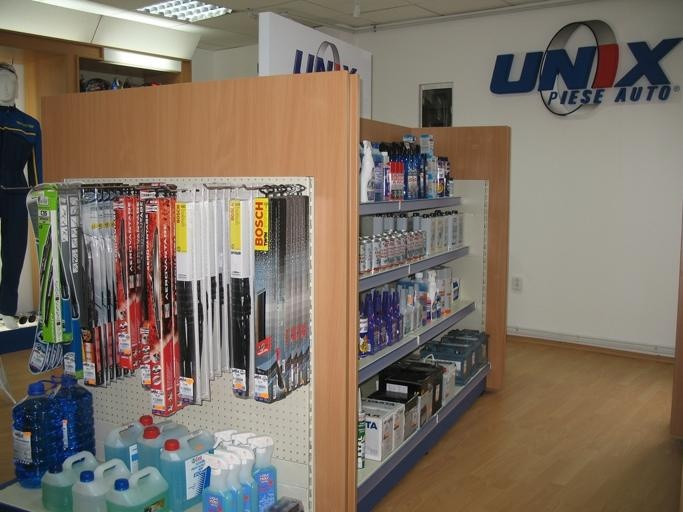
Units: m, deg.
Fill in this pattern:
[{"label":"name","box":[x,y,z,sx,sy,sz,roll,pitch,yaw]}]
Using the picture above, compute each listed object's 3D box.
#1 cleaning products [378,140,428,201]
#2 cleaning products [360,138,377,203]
[{"label":"cleaning products","box":[0.435,-0.597,3.898,0.153,0.424,0.455,0,4,26]},{"label":"cleaning products","box":[0.164,-0.531,3.479,0.073,0.342,0.092,-3,11,3]}]
